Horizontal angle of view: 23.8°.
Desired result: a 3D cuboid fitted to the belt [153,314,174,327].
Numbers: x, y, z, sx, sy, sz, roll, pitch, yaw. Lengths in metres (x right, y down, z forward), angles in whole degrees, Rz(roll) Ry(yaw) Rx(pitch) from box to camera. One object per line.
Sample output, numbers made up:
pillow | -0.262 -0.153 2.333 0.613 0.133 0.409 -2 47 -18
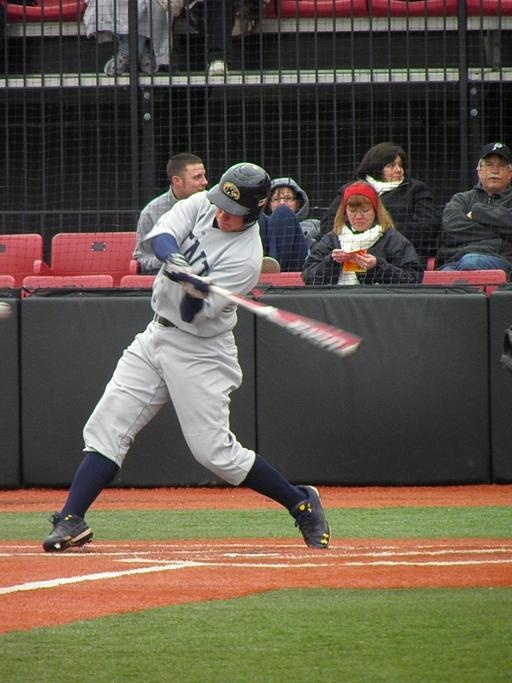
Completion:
belt | -0.361 -0.081 4.857 0.056 0.038 0.054 21 4 -1

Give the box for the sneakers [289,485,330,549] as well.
sneakers | 0.212 0.714 4.961 0.128 0.288 0.100 10 -45 -37

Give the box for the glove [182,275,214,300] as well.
glove | -0.221 -0.211 4.600 0.117 0.087 0.045 0 1 -9

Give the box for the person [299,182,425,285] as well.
person | 0.674 -0.647 7.460 0.810 0.805 0.509 -1 -7 17

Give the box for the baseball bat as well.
baseball bat | 0.136 -0.096 5.843 0.744 0.040 0.119 27 51 22

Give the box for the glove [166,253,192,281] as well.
glove | -0.296 -0.288 4.627 0.093 0.084 0.106 48 -10 -22

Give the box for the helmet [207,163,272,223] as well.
helmet | -0.064 -0.595 4.829 0.249 0.251 0.194 0 1 -9

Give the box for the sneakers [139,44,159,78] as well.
sneakers | -0.801 -2.123 9.194 0.189 0.232 0.089 2 6 11

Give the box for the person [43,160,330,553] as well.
person | -0.257 0.057 4.829 1.047 1.536 0.504 0 1 10

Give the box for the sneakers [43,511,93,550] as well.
sneakers | -0.732 0.742 4.761 0.182 0.145 0.139 0 1 -9
